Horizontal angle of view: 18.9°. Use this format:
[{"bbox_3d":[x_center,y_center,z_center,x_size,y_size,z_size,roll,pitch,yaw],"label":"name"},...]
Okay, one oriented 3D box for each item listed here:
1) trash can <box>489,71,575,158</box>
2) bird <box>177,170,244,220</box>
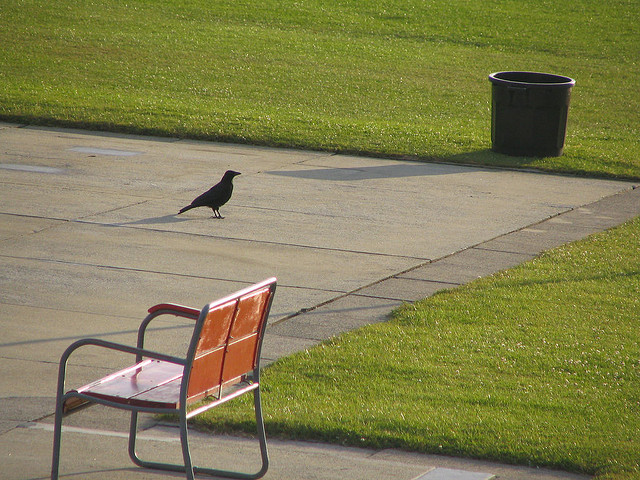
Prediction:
[{"bbox_3d":[4.607,-2.969,43.794,1.748,2.004,1.778,-11,18,-21],"label":"trash can"},{"bbox_3d":[-2.108,-1.027,39.058,0.822,1.032,1.465,12,15,29],"label":"bird"}]
